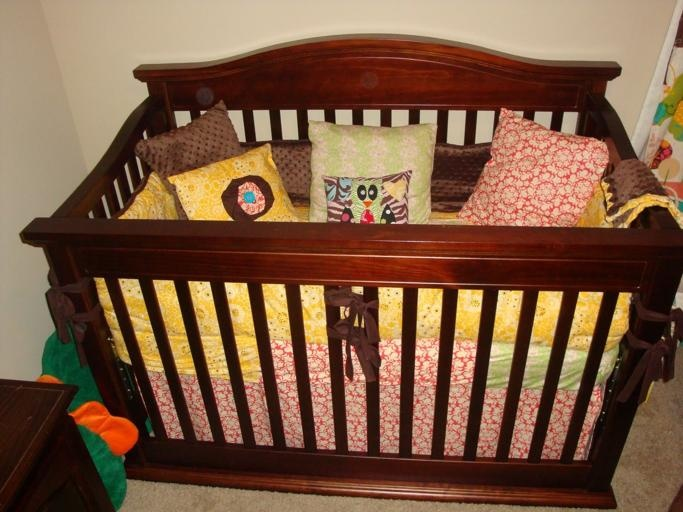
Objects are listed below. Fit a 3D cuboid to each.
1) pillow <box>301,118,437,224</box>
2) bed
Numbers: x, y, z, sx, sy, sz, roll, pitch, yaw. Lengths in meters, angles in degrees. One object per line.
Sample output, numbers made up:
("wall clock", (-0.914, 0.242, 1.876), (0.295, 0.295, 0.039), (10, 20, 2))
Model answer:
("pillow", (0.123, -0.356, 2.263), (0.572, 0.400, 0.190), (1, 12, 4))
("bed", (0.078, 0.076, 1.918), (1.954, 1.246, 1.063), (2, 47, 4))
